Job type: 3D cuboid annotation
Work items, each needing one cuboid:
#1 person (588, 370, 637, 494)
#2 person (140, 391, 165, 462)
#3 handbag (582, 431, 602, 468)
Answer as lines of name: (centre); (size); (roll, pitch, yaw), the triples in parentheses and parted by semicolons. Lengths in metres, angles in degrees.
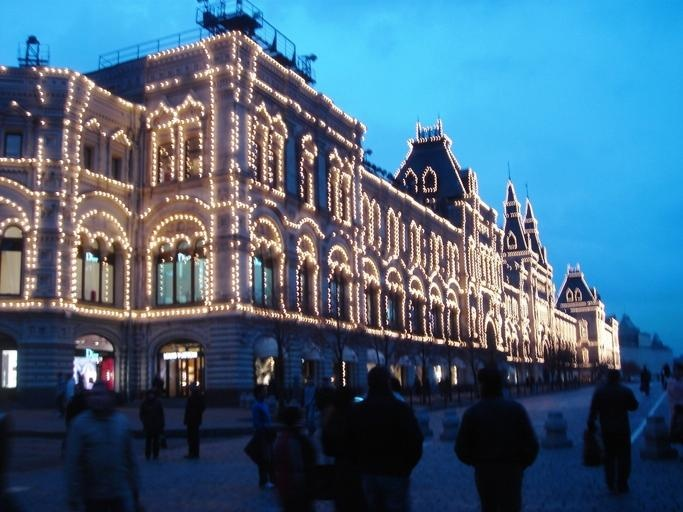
person: (5.373, 3.424, 16.452); (0.951, 2.415, 0.614); (-3, -10, 7)
person: (-5.286, 4.660, 23.162); (0.591, 1.933, 1.154); (0, -11, -11)
handbag: (5.015, 3.748, 16.647); (0.433, 0.872, 0.367); (6, 29, 32)
